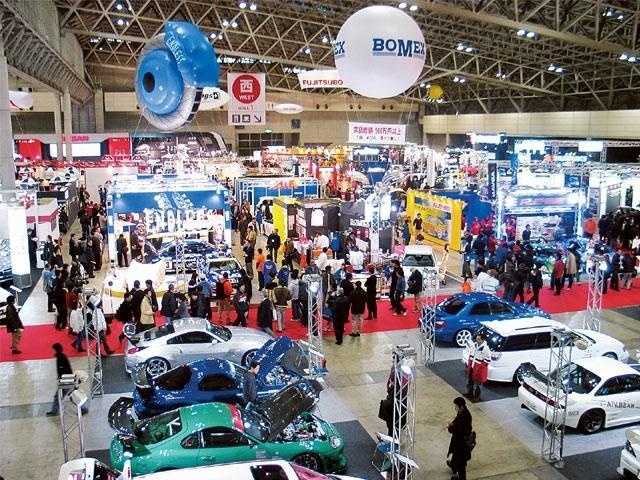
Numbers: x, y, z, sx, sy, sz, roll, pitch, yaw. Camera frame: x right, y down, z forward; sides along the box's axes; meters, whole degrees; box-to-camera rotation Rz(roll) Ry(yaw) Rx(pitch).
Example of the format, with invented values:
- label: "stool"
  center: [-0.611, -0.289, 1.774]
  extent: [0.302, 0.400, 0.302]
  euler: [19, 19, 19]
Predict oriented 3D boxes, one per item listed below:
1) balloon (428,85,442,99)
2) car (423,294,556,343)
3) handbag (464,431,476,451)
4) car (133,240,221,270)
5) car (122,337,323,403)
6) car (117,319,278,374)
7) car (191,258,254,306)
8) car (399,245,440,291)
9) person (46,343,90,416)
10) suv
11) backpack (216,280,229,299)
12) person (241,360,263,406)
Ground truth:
- label: "balloon"
  center: [6.957, -8.848, 29.500]
  extent: [0.654, 0.779, 1.744]
  euler: [2, 14, 7]
- label: "car"
  center: [4.647, 2.263, 13.286]
  extent: [3.116, 1.070, 1.368]
  euler: [-9, 16, -14]
- label: "handbag"
  center: [2.548, 3.390, 8.254]
  extent: [0.100, 0.300, 0.286]
  euler: [13, 8, 12]
- label: "car"
  center: [-5.057, 0.550, 18.078]
  extent: [2.507, 0.882, 1.269]
  euler: [0, 8, -12]
- label: "car"
  center: [-1.835, 2.753, 9.862]
  extent: [3.604, 1.519, 1.592]
  euler: [-3, 13, -12]
- label: "car"
  center: [-2.957, 2.361, 11.511]
  extent: [2.964, 0.904, 1.480]
  euler: [-4, 16, -11]
- label: "car"
  center: [-3.085, 1.337, 15.353]
  extent: [1.002, 0.806, 2.154]
  euler: [-2, 13, -14]
- label: "car"
  center: [3.410, 0.766, 16.509]
  extent: [0.892, 0.862, 1.656]
  euler: [-1, 5, 3]
- label: "person"
  center: [-5.034, 2.805, 9.799]
  extent: [1.001, 1.720, 0.568]
  euler: [8, 28, -12]
- label: "suv"
  center: [5.576, 2.425, 12.080]
  extent: [3.868, 1.293, 1.742]
  euler: [-4, 17, -8]
- label: "backpack"
  center: [-2.818, 1.443, 14.108]
  extent: [0.285, 0.540, 0.197]
  euler: [-7, 14, -30]
- label: "person"
  center: [-1.267, 2.628, 9.036]
  extent: [0.313, 0.747, 0.612]
  euler: [-1, 13, -7]
